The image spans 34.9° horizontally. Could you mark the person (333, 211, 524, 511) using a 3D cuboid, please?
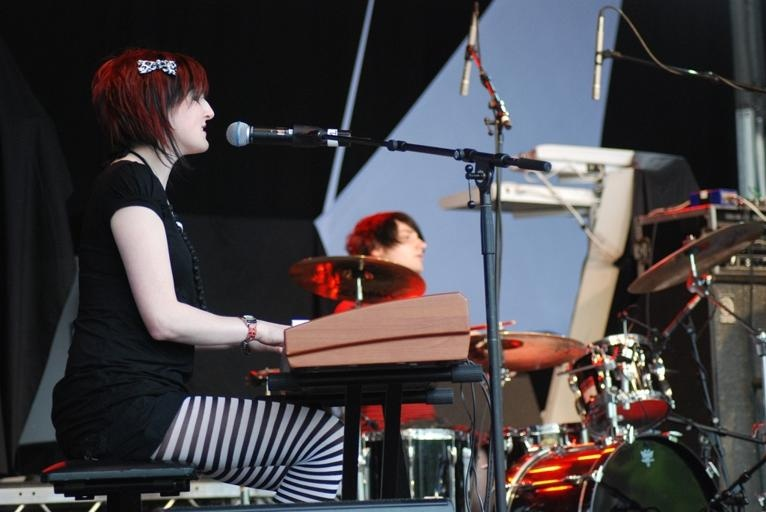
[{"bbox_3d":[0.248,0.613,6.504,0.860,1.757,0.953,-16,-32,15],"label":"person"}]

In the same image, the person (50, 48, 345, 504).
[{"bbox_3d":[-0.909,0.119,5.771,1.147,2.081,0.696,7,-23,-20],"label":"person"}]

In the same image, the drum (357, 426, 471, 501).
[{"bbox_3d":[0.170,1.185,6.957,0.504,0.453,0.492,11,-17,-41],"label":"drum"}]

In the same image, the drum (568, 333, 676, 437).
[{"bbox_3d":[1.332,0.715,6.924,0.462,0.373,0.505,-15,-22,-6],"label":"drum"}]

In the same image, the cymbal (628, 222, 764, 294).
[{"bbox_3d":[1.784,0.014,6.875,0.811,0.242,0.457,-13,-25,26],"label":"cymbal"}]
